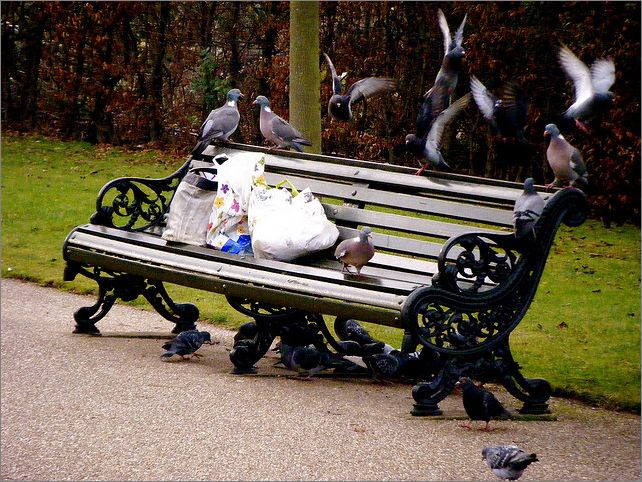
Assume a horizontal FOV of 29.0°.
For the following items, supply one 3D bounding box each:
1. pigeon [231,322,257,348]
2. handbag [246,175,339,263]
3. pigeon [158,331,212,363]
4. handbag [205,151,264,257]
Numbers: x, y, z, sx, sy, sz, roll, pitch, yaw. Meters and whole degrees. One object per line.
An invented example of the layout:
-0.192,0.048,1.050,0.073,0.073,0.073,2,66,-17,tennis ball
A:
-1.068,1.275,17.428,0.319,0.316,0.373,7,-17,15,pigeon
-0.493,-0.330,17.079,1.262,1.021,0.457,-2,-24,-6,handbag
-1.955,1.428,17.286,0.738,0.323,0.306,5,-6,-13,pigeon
-1.217,-0.513,17.454,0.771,1.368,0.775,24,18,28,handbag
